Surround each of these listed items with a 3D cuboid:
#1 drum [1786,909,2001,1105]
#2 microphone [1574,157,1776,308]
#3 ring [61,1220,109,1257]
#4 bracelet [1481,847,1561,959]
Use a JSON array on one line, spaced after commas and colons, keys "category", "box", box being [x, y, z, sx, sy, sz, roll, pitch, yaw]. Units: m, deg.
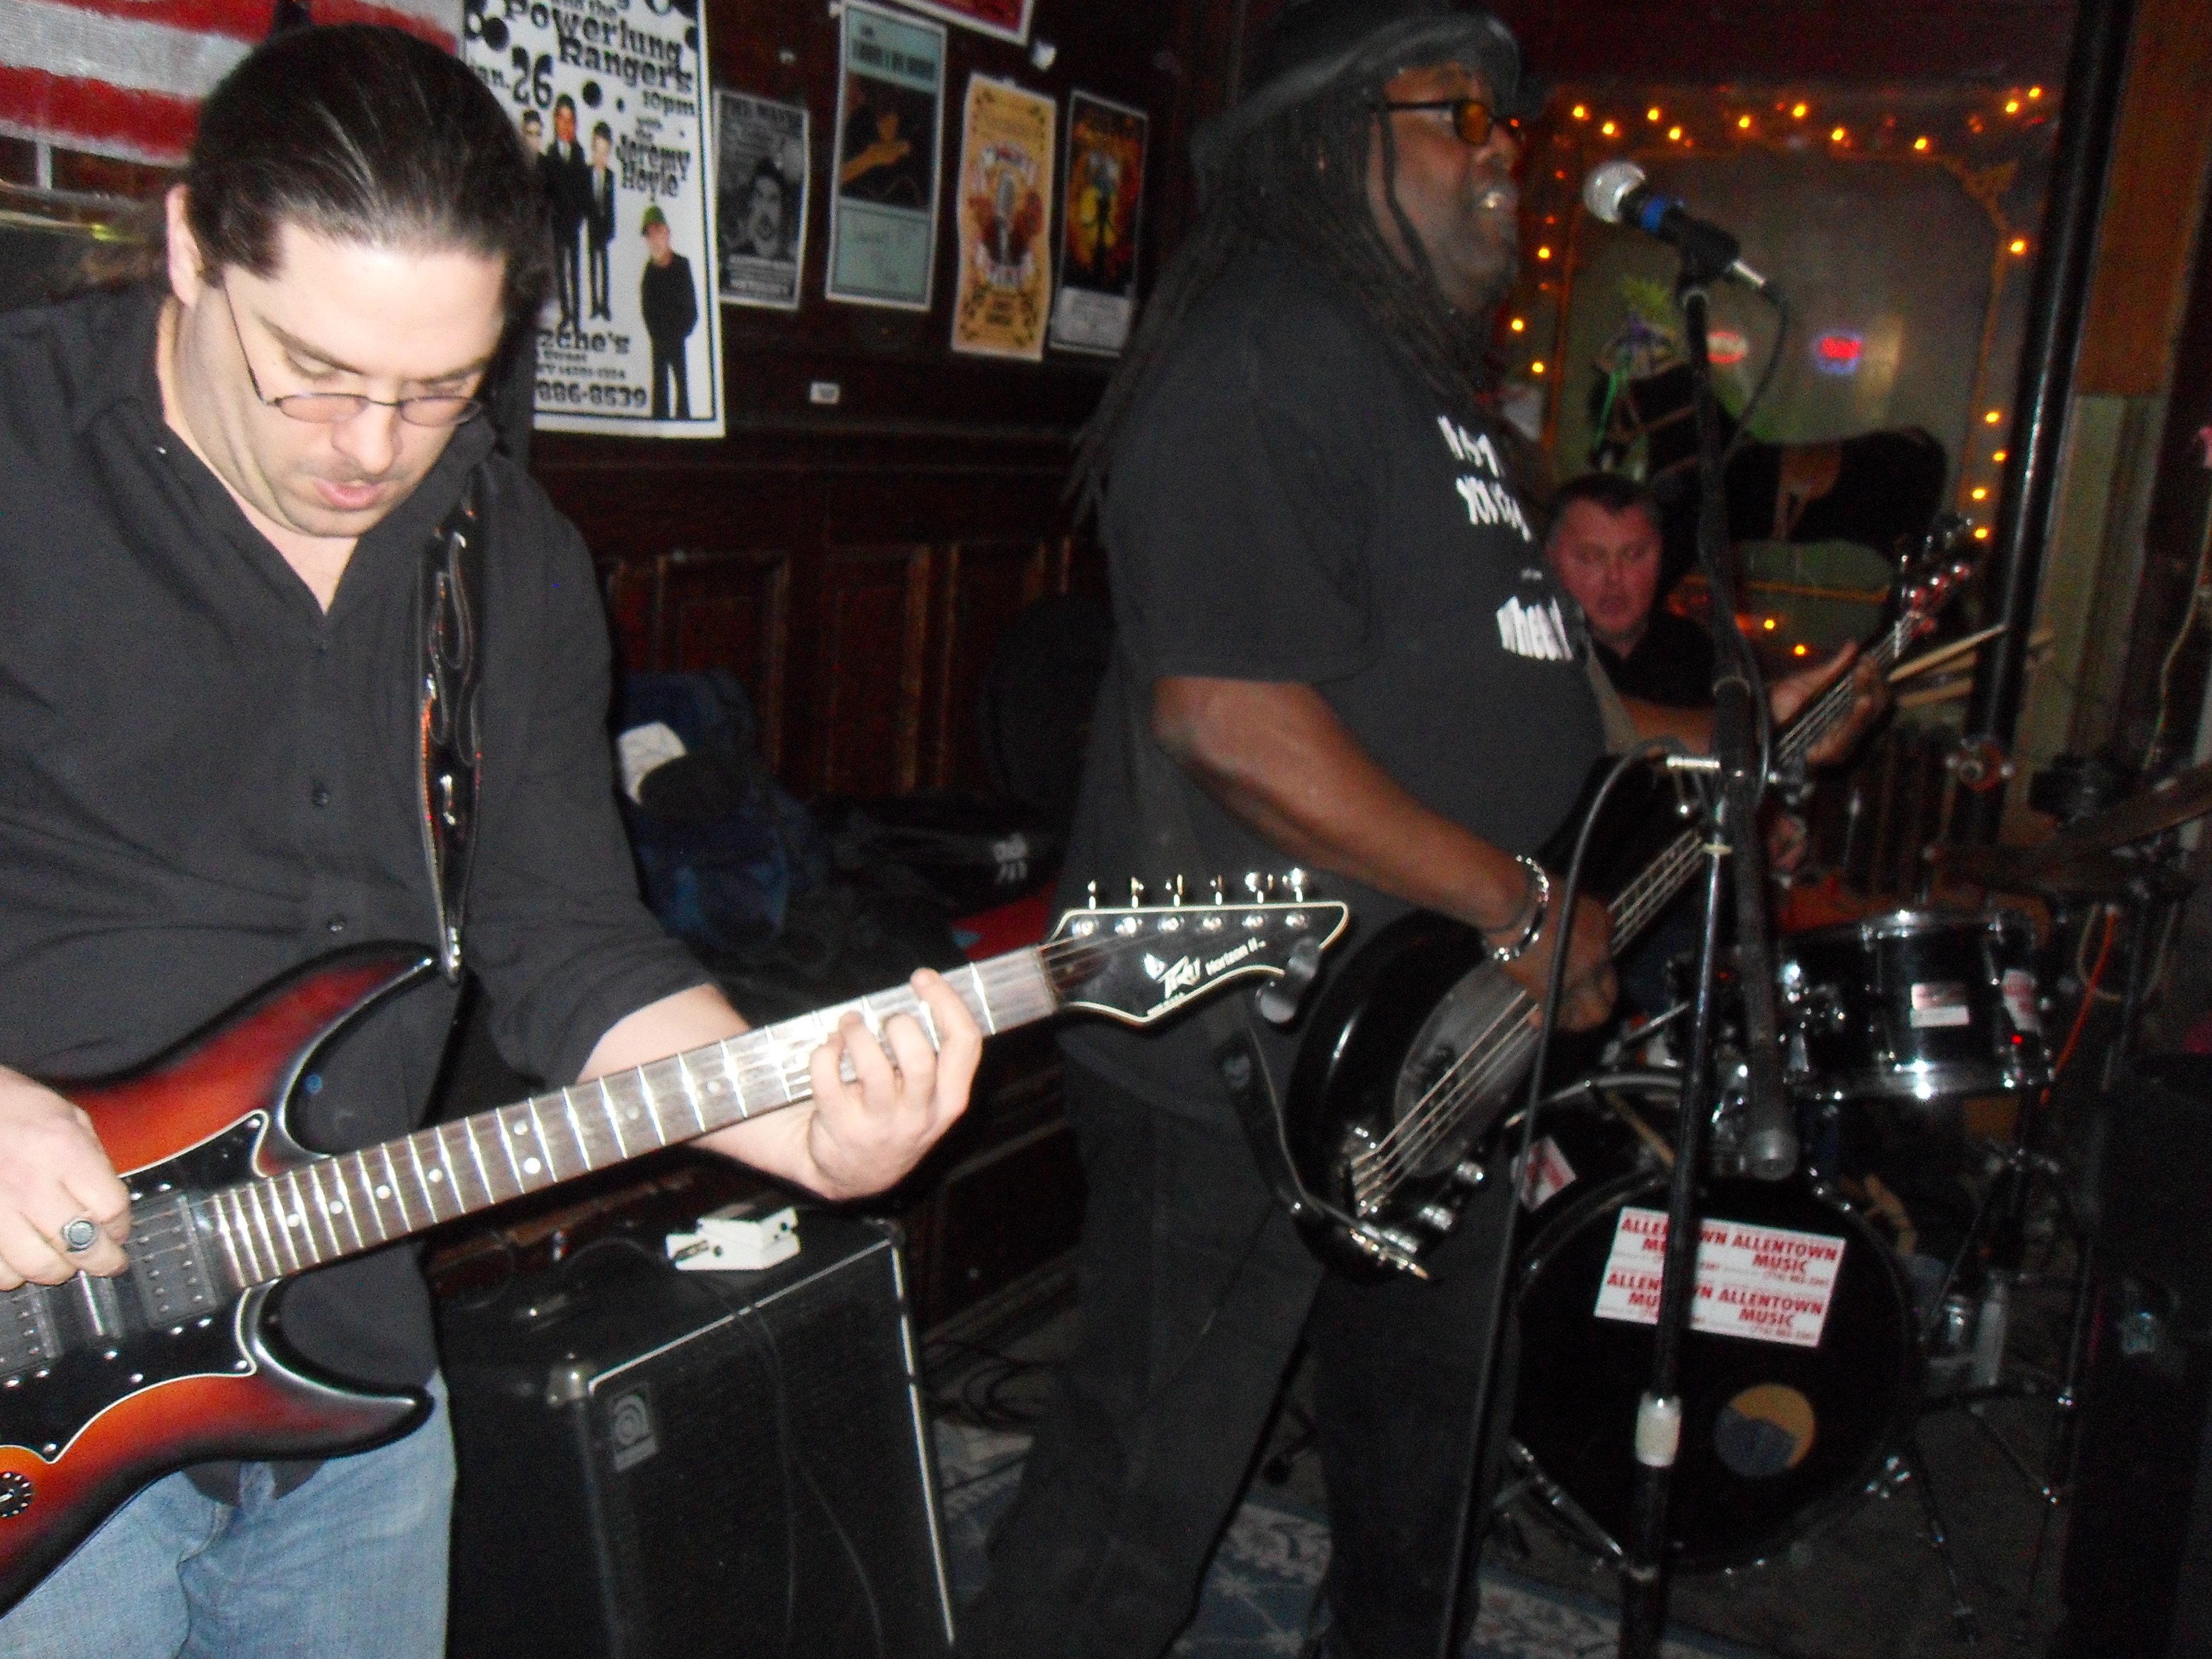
[{"category": "drum", "box": [1.504, 0.317, 3.070, 0.363, 0.283, 0.380, -1, -6, 0]}, {"category": "microphone", "box": [0.684, -0.709, 1.888, 0.224, 0.172, 0.230, 12, 14, 39]}, {"category": "ring", "box": [-0.912, 0.364, 1.445, 0.027, 0.036, 0.012, -1, 25, -31]}, {"category": "bracelet", "box": [0.501, 0.082, 1.950, 0.095, 0.110, 0.039, 0, 9, -20]}]
